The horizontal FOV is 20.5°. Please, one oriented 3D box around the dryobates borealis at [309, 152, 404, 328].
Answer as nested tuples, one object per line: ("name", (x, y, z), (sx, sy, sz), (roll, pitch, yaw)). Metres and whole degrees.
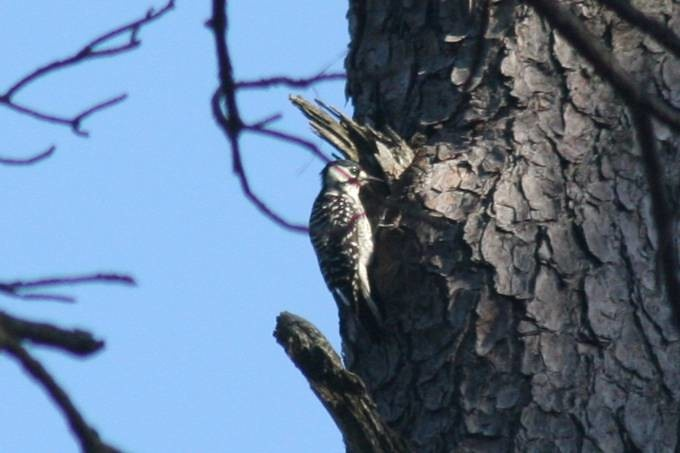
("dryobates borealis", (0.150, 0.095, 11.745), (0.523, 0.984, 0.406), (-22, -44, 2))
